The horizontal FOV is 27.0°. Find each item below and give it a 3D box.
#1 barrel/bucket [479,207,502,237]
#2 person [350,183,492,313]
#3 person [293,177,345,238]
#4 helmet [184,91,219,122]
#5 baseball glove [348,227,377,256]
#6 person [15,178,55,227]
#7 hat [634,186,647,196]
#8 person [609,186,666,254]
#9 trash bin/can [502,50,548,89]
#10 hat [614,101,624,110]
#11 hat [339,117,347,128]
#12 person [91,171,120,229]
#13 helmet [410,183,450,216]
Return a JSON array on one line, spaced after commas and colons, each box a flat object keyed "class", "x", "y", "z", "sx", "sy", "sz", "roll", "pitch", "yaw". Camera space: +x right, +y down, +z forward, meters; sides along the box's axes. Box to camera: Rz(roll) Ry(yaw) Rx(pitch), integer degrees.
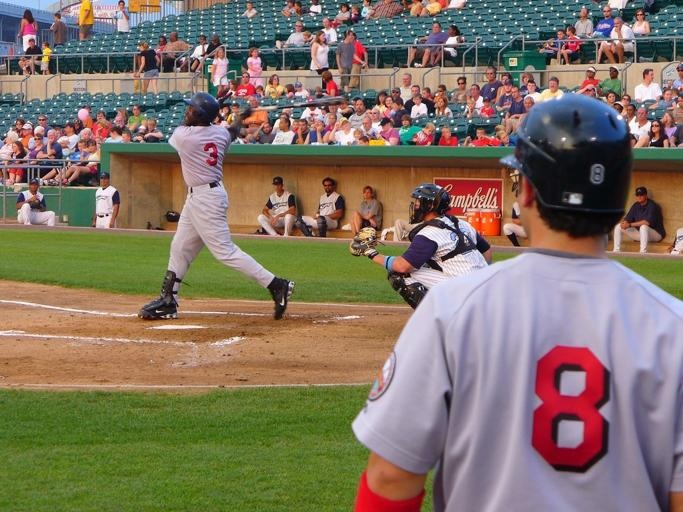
[{"class": "barrel/bucket", "x": 2.615, "y": -0.585, "z": 25.164, "sx": 0.437, "sy": 0.478, "sz": 0.440, "roll": -1, "pitch": -1, "yaw": 0}, {"class": "person", "x": 0.958, "y": -0.193, "z": 16.105, "sx": 1.515, "sy": 1.521, "sz": 1.016, "roll": 5, "pitch": 14, "yaw": 19}, {"class": "person", "x": -0.372, "y": -0.849, "z": 26.067, "sx": 0.761, "sy": 1.212, "sz": 0.790, "roll": 0, "pitch": 1, "yaw": 28}, {"class": "helmet", "x": -1.642, "y": -1.770, "z": 16.866, "sx": 0.364, "sy": 0.366, "sz": 0.365, "roll": 0, "pitch": 4, "yaw": -7}, {"class": "baseball glove", "x": 0.263, "y": -0.164, "z": 16.317, "sx": 0.365, "sy": 0.222, "sz": 0.166, "roll": -39, "pitch": -7, "yaw": -17}, {"class": "person", "x": -5.686, "y": -0.994, "z": 26.494, "sx": 0.716, "sy": 0.846, "sz": 0.711, "roll": -2, "pitch": 4, "yaw": -27}, {"class": "hat", "x": 4.897, "y": -1.063, "z": 23.273, "sx": 0.141, "sy": 0.115, "sz": 0.204, "roll": -1, "pitch": -2, "yaw": 29}, {"class": "person", "x": 4.892, "y": -0.582, "z": 23.274, "sx": 0.872, "sy": 1.096, "sz": 0.697, "roll": -1, "pitch": 3, "yaw": -29}, {"class": "trash bin/can", "x": 3.292, "y": -3.473, "z": 26.412, "sx": 0.721, "sy": 1.138, "sz": 0.736, "roll": 6, "pitch": 10, "yaw": 40}, {"class": "hat", "x": 4.457, "y": -2.429, "z": 22.898, "sx": 0.137, "sy": 0.079, "sz": 0.195, "roll": -1, "pitch": 1, "yaw": 8}, {"class": "hat", "x": 0.015, "y": -2.386, "z": 25.303, "sx": 0.127, "sy": 0.091, "sz": 0.163, "roll": -26, "pitch": -4, "yaw": -15}, {"class": "person", "x": -4.270, "y": -1.013, "z": 25.828, "sx": 0.400, "sy": 0.980, "sz": 0.371, "roll": -1, "pitch": 4, "yaw": -10}, {"class": "helmet", "x": 0.983, "y": -0.616, "z": 15.589, "sx": 0.370, "sy": 0.291, "sz": 0.312, "roll": 10, "pitch": 5, "yaw": 17}]
